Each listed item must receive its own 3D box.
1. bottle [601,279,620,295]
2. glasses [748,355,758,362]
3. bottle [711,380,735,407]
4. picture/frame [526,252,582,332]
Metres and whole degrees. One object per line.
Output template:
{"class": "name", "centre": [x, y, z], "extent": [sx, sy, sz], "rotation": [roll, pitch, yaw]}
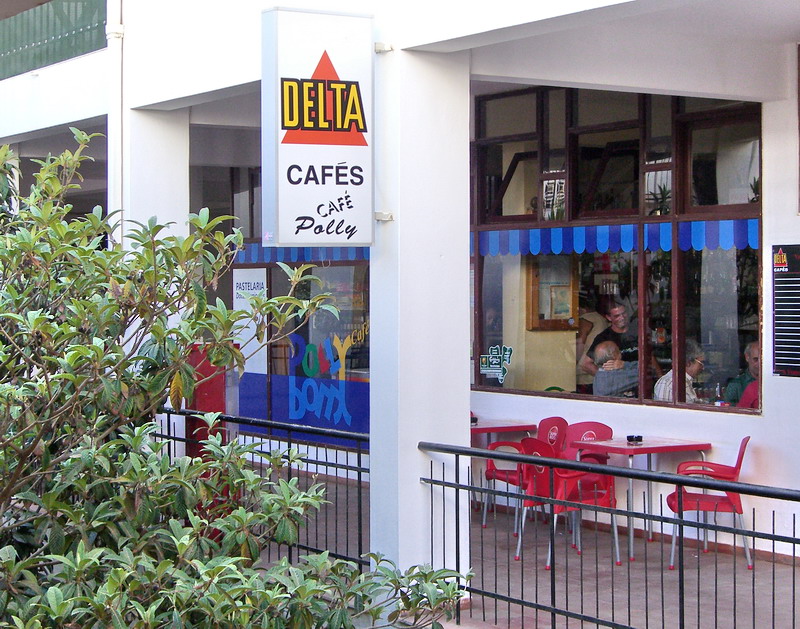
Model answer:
{"class": "bottle", "centre": [2.207, -0.276, 8.926], "extent": [0.110, 0.165, 0.197], "rotation": [-3, 5, -42]}
{"class": "glasses", "centre": [3.306, 0.417, 7.945], "extent": [0.047, 0.071, 0.064], "rotation": [0, -1, 7]}
{"class": "bottle", "centre": [3.060, 0.770, 8.088], "extent": [0.192, 0.193, 0.078], "rotation": [2, 0, 36]}
{"class": "picture/frame", "centre": [1.727, -0.265, 9.430], "extent": [0.723, 1.201, 0.078], "rotation": [3, 4, 44]}
